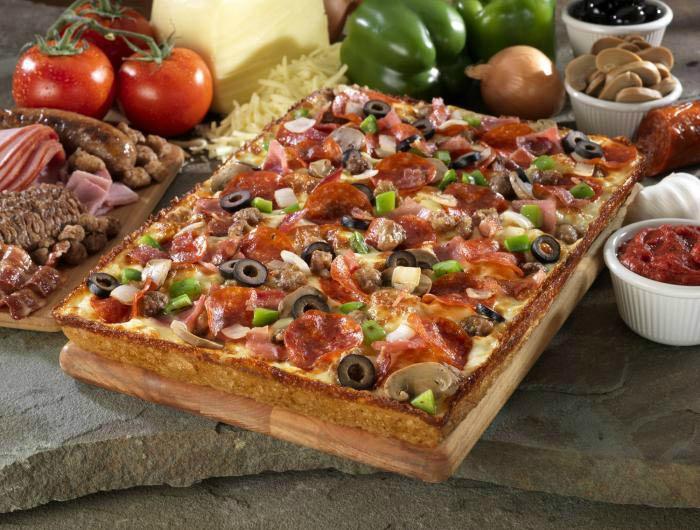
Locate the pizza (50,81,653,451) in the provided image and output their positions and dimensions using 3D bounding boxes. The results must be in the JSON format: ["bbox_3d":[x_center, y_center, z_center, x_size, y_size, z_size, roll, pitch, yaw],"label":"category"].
[{"bbox_3d":[0.038,-0.092,2.481,1.348,0.372,1.578,21,55,27],"label":"pizza"}]
